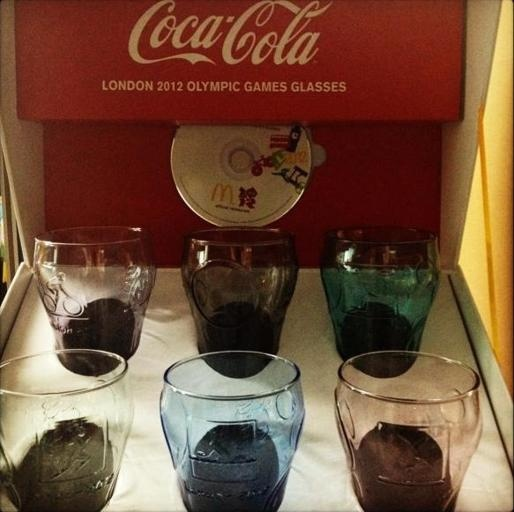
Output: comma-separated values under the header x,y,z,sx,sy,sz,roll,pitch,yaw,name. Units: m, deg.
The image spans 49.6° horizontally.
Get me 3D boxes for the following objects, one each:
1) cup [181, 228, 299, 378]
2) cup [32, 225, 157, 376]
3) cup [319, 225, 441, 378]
x,y,z,sx,sy,sz,roll,pitch,yaw,name
-0.015,0.041,0.560,0.114,0.140,0.114,0,13,0,cup
-0.161,0.039,0.560,0.107,0.137,0.111,3,15,-1,cup
0.115,0.039,0.530,0.110,0.143,0.119,0,1,0,cup
